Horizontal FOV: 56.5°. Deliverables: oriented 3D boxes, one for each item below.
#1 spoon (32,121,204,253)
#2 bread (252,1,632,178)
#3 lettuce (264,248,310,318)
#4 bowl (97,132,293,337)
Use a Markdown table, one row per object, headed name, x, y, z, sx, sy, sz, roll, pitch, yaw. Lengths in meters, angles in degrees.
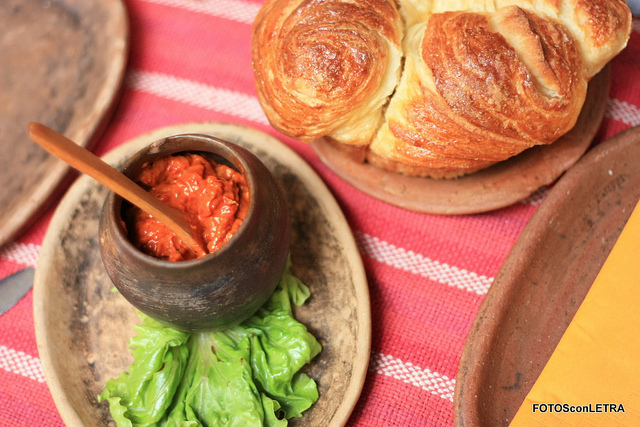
| name | x | y | z | sx | sy | sz | roll | pitch | yaw |
| --- | --- | --- | --- | --- | --- | --- | --- | --- | --- |
| spoon | -0.466 | -0.051 | 1.372 | 0.483 | 0.054 | 0.065 | 44 | -16 | -32 |
| bread | 0.273 | -0.362 | 1.469 | 0.902 | 0.452 | 0.220 | 13 | 3 | -6 |
| lettuce | -0.075 | 0.192 | 1.488 | 0.096 | 0.170 | 0.079 | 29 | 43 | 36 |
| bowl | -0.290 | 0.080 | 1.420 | 0.412 | 0.461 | 0.392 | 5 | -33 | 3 |
